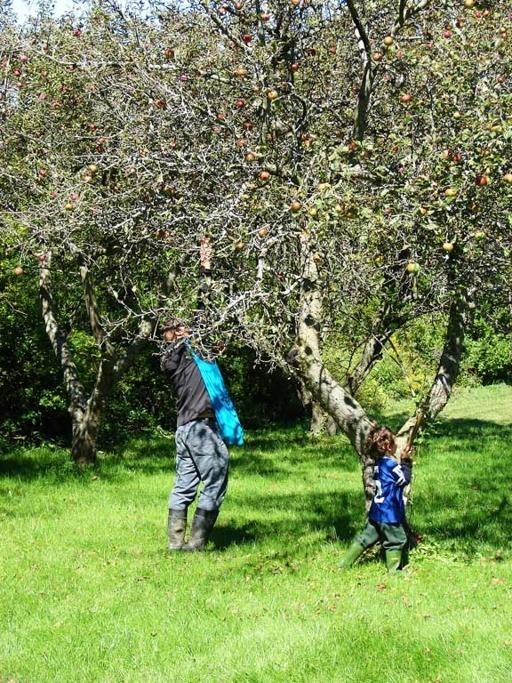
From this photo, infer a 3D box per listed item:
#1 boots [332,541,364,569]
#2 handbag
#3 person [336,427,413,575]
[{"bbox_3d":[0.730,1.640,6.079,0.101,0.323,0.084,45,3,3],"label":"boots"},{"bbox_3d":[-0.313,0.475,6.430,0.409,0.757,0.582,0,0,-2],"label":"handbag"},{"bbox_3d":[0.930,1.188,6.002,0.491,1.060,0.249,0,0,34],"label":"person"}]
